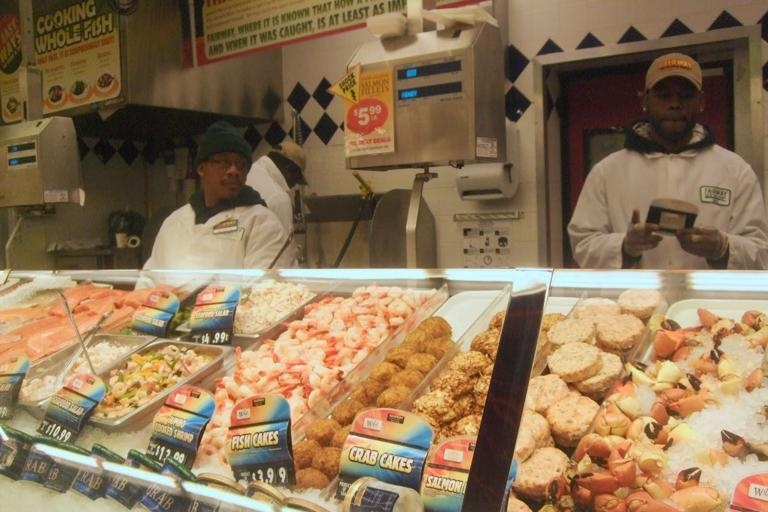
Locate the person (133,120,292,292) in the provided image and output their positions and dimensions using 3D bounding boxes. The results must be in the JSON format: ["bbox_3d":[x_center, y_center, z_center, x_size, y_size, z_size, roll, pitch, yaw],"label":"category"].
[{"bbox_3d":[-0.907,-0.341,3.397,0.917,0.819,0.296,2,4,30],"label":"person"}]

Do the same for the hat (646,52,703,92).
[{"bbox_3d":[1.371,-0.875,2.866,0.232,0.192,0.142,1,3,24],"label":"hat"}]

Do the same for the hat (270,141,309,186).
[{"bbox_3d":[-0.674,-0.672,4.425,0.325,0.187,0.226,39,8,-39],"label":"hat"}]
